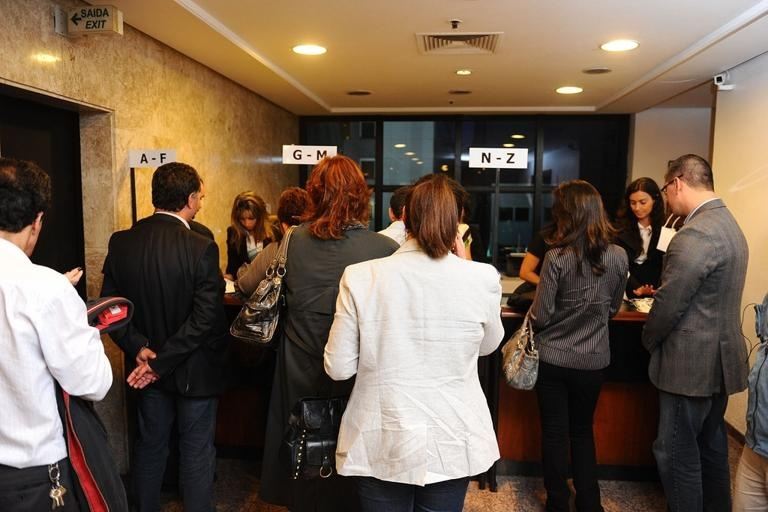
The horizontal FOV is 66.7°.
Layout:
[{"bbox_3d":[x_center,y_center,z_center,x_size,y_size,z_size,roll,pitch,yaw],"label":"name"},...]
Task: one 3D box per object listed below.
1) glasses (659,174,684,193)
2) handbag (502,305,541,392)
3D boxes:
[{"bbox_3d":[1.763,-0.460,3.582,0.099,0.029,0.099,-37,-17,-10],"label":"glasses"},{"bbox_3d":[0.841,0.577,3.571,0.219,0.469,0.243,4,8,13],"label":"handbag"}]
